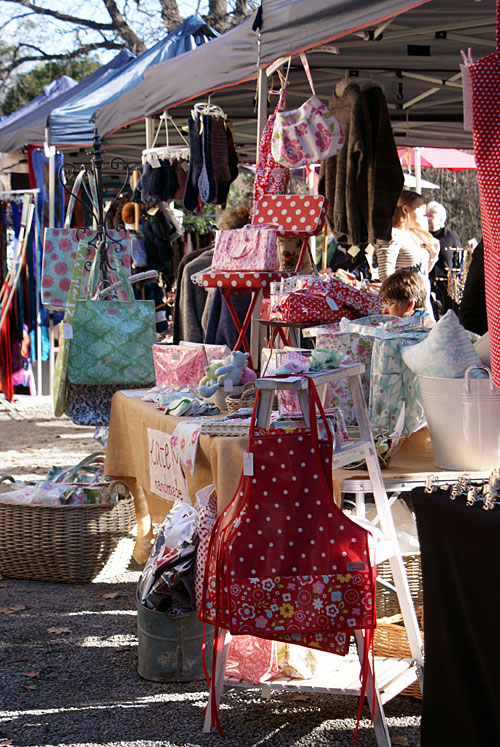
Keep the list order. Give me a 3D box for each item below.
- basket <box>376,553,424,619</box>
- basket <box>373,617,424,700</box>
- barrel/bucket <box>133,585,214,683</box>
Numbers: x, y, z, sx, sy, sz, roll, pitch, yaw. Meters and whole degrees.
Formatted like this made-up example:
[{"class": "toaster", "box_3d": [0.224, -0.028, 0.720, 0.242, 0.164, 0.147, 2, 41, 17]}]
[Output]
[{"class": "basket", "box_3d": [0.465, 0.673, 2.266, 0.132, 0.219, 0.114, -1, 1, 6]}, {"class": "basket", "box_3d": [0.463, 0.874, 2.257, 0.138, 0.261, 0.248, -1, 1, -3]}, {"class": "barrel/bucket", "box_3d": [-0.249, 0.880, 2.458, 0.259, 0.252, 0.270, 0, 3, 0]}]
